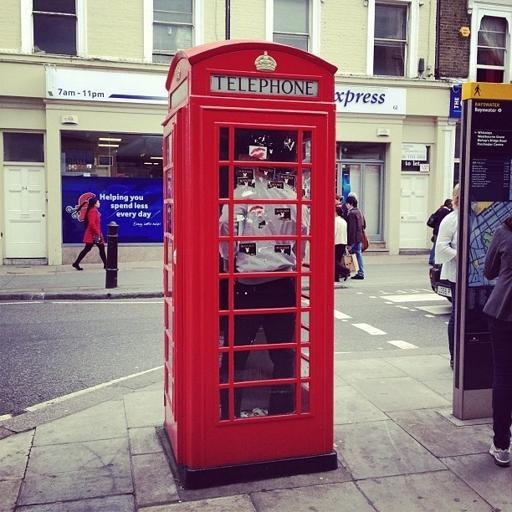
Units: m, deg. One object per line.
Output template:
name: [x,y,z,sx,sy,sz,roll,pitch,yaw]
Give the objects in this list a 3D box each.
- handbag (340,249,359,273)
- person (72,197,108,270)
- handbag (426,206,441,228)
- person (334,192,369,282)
handbag: [1.753,0.086,13.803,0.355,0.569,0.298,-1,25,21]
person: [-3.466,-0.444,15.531,0.690,1.518,1.786,-1,7,-14]
handbag: [3.418,-0.750,14.102,0.147,0.455,0.300,25,-5,-22]
person: [1.921,-0.374,14.694,0.537,1.646,1.657,1,7,7]
